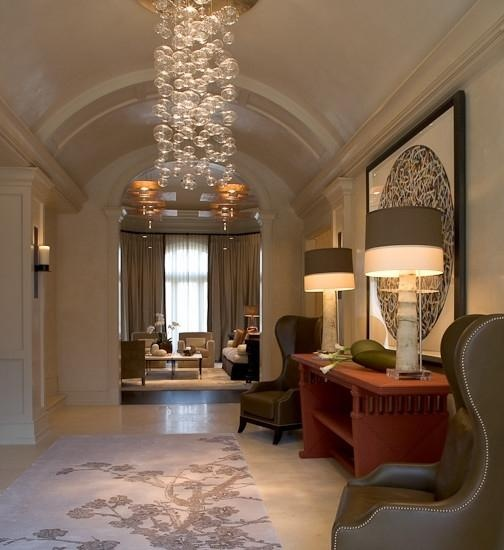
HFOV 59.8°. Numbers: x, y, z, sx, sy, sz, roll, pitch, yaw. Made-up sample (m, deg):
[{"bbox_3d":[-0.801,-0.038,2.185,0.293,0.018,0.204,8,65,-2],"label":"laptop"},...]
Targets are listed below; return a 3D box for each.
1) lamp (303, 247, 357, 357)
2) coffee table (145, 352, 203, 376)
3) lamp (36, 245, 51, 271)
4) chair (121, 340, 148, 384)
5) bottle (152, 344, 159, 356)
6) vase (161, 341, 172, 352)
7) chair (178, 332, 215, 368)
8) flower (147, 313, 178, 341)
[{"bbox_3d":[0.697,0.213,3.940,0.421,0.870,0.411,0,2,-44],"label":"lamp"},{"bbox_3d":[-1.830,2.104,10.274,1.217,0.519,1.985,1,-7,-11],"label":"coffee table"},{"bbox_3d":[-2.332,-0.181,4.878,0.136,0.318,0.174,3,-8,-29],"label":"lamp"},{"bbox_3d":[-2.201,1.578,8.095,0.432,0.671,0.280,2,-7,-20],"label":"chair"},{"bbox_3d":[-2.164,1.694,9.785,0.142,0.240,0.397,1,-7,-12],"label":"bottle"},{"bbox_3d":[-2.026,1.704,10.199,0.234,0.295,0.598,1,-7,-6],"label":"vase"},{"bbox_3d":[-1.501,2.020,11.600,1.253,0.999,1.273,5,-9,-35],"label":"chair"},{"bbox_3d":[-2.574,1.515,12.423,0.866,0.980,0.547,2,-6,-6],"label":"flower"}]
